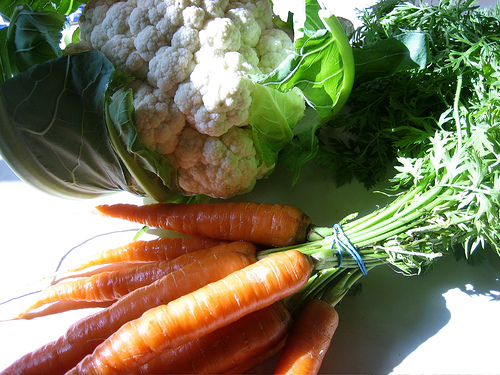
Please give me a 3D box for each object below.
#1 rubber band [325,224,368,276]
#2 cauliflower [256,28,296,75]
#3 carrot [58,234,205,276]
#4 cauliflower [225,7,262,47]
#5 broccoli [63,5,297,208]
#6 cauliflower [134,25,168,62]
[{"bbox_3d":[0.268,0.161,1.221,0.101,0.135,0.117,3,11,13],"label":"rubber band"},{"bbox_3d":[0.089,-0.417,1.369,0.112,0.149,0.071,20,-15,30],"label":"cauliflower"},{"bbox_3d":[-0.361,0.206,1.423,0.430,0.084,0.064,-8,1,-14],"label":"carrot"},{"bbox_3d":[-0.022,-0.467,1.286,0.055,0.128,0.081,-17,27,-39],"label":"cauliflower"},{"bbox_3d":[-0.192,-0.284,1.270,0.508,0.676,0.311,1,7,38],"label":"broccoli"},{"bbox_3d":[-0.285,-0.414,1.232,0.070,0.103,0.061,-7,20,-19],"label":"cauliflower"}]
